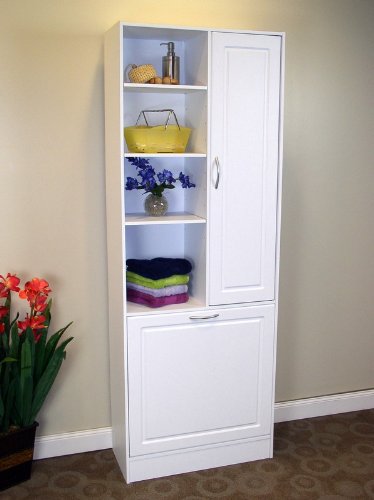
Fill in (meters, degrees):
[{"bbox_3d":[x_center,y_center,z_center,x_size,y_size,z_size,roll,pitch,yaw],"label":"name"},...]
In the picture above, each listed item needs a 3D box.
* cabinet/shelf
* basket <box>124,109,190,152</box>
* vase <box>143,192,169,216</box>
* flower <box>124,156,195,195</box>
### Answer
[{"bbox_3d":[0.048,0.039,1.961,0.828,1.932,0.527,0,3,-15],"label":"cabinet/shelf"},{"bbox_3d":[-0.118,-0.476,1.809,0.287,0.192,0.219,-7,16,-30],"label":"basket"},{"bbox_3d":[-0.135,-0.195,1.847,0.094,0.128,0.095,2,8,19],"label":"vase"},{"bbox_3d":[-0.124,-0.303,1.839,0.236,0.110,0.202,9,37,2],"label":"flower"}]
